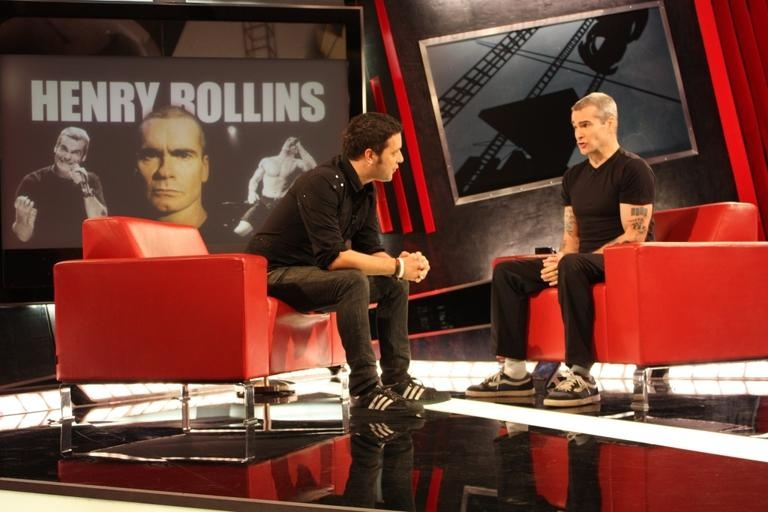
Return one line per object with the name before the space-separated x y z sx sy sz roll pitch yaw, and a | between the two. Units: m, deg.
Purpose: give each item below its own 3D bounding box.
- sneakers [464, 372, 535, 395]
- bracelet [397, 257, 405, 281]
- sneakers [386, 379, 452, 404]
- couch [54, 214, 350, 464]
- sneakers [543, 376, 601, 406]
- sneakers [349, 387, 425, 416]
sneakers | 0.656 0.730 3.960 0.399 0.138 0.139 1 -5 1
bracelet | 0.088 0.065 3.555 0.038 0.085 0.067 4 0 6
sneakers | 0.179 0.685 3.573 0.348 0.121 0.119 2 -2 0
couch | -0.876 0.364 3.681 1.022 1.069 1.330 -2 -2 12
sneakers | 1.004 0.699 3.682 0.401 0.156 0.189 2 -7 -39
sneakers | 0.013 0.721 3.466 0.386 0.146 0.145 0 -4 -1
